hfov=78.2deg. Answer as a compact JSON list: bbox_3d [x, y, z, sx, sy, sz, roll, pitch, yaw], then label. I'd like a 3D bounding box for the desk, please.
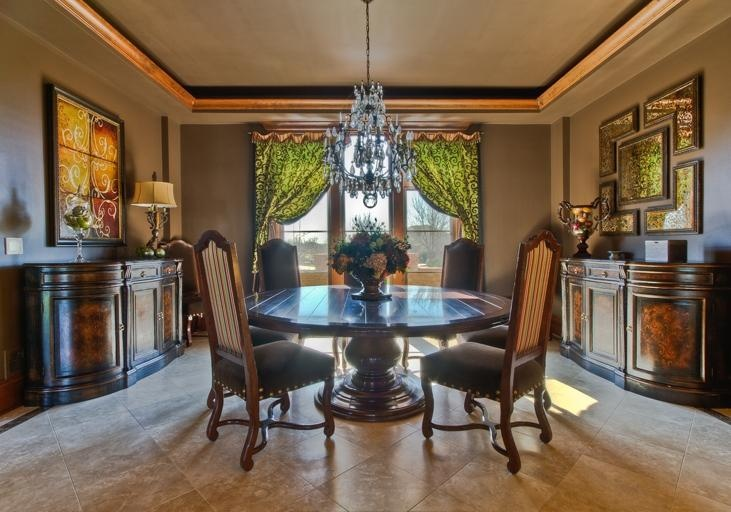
[{"bbox_3d":[0.106,0.856,4.018,2.101,0.883,2.138,0,3,31],"label":"desk"}]

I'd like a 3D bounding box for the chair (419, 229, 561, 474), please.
[{"bbox_3d":[0.964,0.666,3.541,0.791,1.645,0.883,-6,7,-43],"label":"chair"}]

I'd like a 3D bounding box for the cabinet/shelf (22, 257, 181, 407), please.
[{"bbox_3d":[-2.479,0.583,4.656,0.642,1.390,1.578,10,13,17],"label":"cabinet/shelf"}]

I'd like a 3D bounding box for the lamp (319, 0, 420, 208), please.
[{"bbox_3d":[0.039,-1.407,4.829,0.963,1.838,1.509,0,2,2],"label":"lamp"}]

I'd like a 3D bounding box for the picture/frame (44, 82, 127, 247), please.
[{"bbox_3d":[-2.850,-0.886,4.630,0.180,1.558,0.861,0,3,14],"label":"picture/frame"}]

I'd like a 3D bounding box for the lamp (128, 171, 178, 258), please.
[{"bbox_3d":[-2.393,-0.469,5.130,0.434,0.925,0.461,0,1,22],"label":"lamp"}]

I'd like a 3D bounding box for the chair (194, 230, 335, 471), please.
[{"bbox_3d":[-0.792,0.669,3.555,0.925,1.648,0.713,-4,8,-43],"label":"chair"}]

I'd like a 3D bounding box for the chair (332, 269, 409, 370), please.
[{"bbox_3d":[0.152,0.692,5.190,0.958,1.129,0.925,0,-6,-3],"label":"chair"}]
